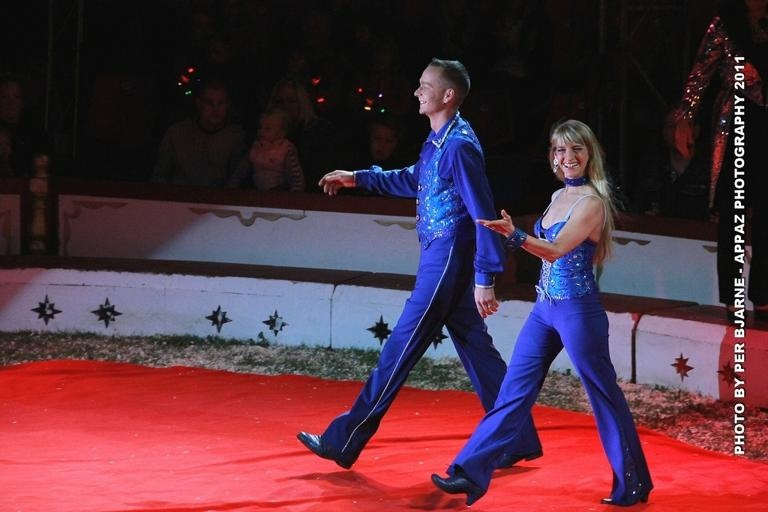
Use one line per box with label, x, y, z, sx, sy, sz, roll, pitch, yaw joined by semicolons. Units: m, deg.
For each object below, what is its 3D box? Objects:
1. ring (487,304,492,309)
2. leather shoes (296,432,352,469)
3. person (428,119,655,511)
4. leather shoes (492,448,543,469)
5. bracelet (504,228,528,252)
ring;0.762;0.378;6.625;0.023;0.023;0.006;-34;-4;25
leather shoes;-0.447;1.491;6.865;0.402;0.162;0.135;30;14;4
person;1.271;0.421;6.556;1.430;2.808;0.368;4;-3;-14
leather shoes;1.039;1.580;7.092;0.413;0.167;0.136;-5;10;-18
bracelet;0.949;-0.123;6.420;0.134;0.115;0.174;-4;-6;42
